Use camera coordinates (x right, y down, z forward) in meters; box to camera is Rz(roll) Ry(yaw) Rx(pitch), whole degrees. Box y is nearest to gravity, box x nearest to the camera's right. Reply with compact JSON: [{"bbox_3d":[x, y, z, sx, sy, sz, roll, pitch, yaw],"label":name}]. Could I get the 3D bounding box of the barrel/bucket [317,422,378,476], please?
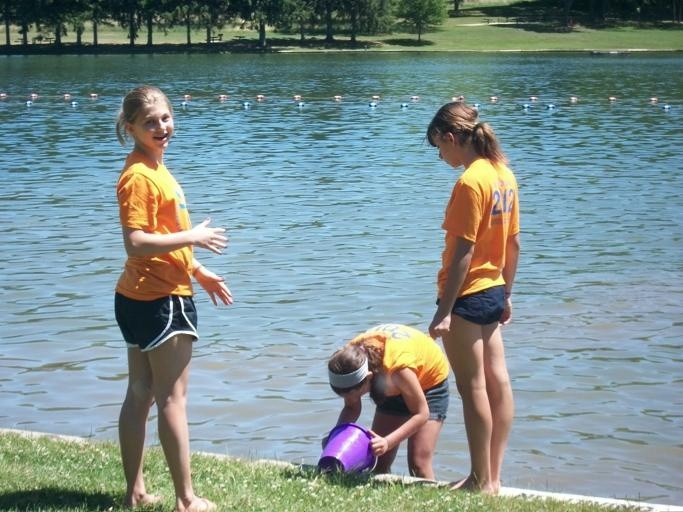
[{"bbox_3d":[0.124,2.220,14.217,0.688,0.571,0.467,19,37,20],"label":"barrel/bucket"}]
